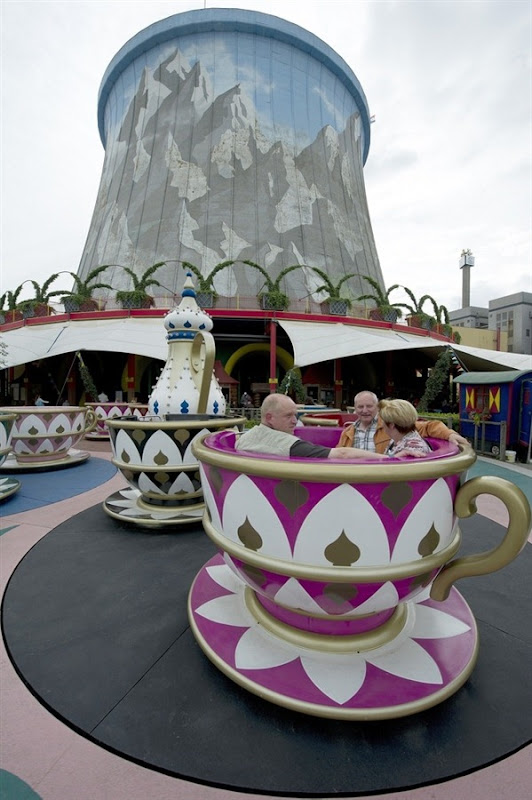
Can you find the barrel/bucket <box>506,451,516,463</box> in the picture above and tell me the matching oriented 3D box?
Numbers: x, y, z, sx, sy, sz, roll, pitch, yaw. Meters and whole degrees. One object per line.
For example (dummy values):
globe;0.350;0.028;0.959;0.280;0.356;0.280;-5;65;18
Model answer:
barrel/bucket;3.193;0.727;6.682;0.147;0.162;0.142;1;-4;0
